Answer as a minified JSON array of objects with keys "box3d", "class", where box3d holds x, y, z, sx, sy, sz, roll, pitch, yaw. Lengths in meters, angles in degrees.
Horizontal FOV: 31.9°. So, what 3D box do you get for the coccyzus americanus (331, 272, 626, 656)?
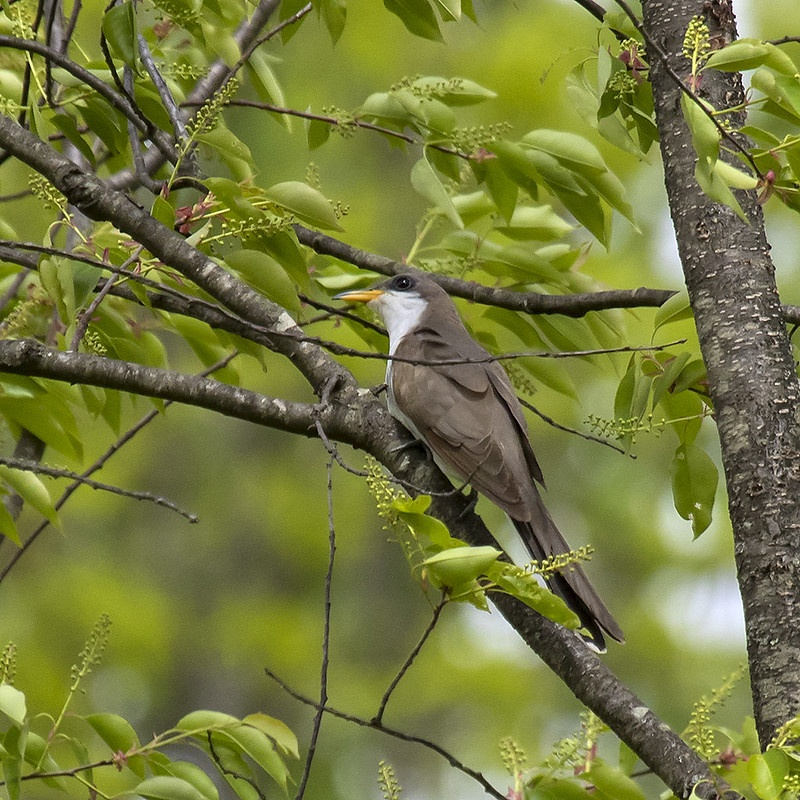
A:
[{"box3d":[0.327,0.115,5.060,1.457,0.899,0.461,28,14,35],"class":"coccyzus americanus"}]
